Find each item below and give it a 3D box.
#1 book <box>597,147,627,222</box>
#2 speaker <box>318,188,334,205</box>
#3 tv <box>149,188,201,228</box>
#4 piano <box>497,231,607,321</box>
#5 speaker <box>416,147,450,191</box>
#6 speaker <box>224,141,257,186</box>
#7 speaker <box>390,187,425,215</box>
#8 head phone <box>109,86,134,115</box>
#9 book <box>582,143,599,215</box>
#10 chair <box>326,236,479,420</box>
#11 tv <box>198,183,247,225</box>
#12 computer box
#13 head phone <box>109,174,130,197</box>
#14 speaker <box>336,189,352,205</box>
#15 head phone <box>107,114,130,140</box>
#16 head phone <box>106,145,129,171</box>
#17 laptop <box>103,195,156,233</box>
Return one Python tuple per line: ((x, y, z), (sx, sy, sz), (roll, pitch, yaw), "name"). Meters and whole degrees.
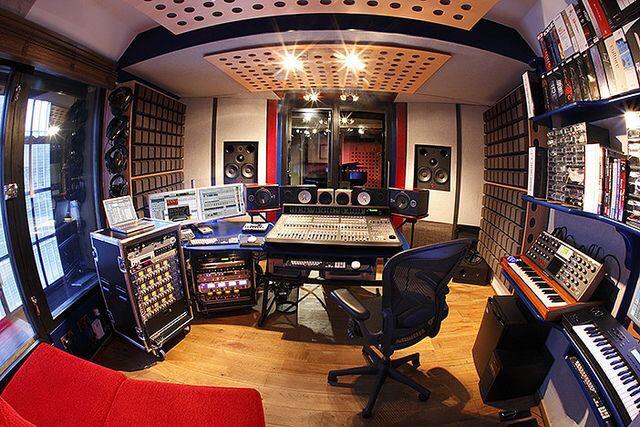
((2.135, -0.219, 2.916), (0.111, 0.504, 0.224), (0, 9, 7), "book")
((0.077, -0.202, 4.684), (0.179, 0.179, 0.184), (0, 3, 1), "speaker")
((-1.636, -0.061, 4.509), (0.415, 0.297, 0.158), (-4, -11, -24), "tv")
((1.972, 0.502, 3.471), (0.492, 0.384, 0.782), (-16, 22, 2), "piano")
((1.638, -0.656, 5.693), (0.597, 0.737, 0.303), (4, 4, 10), "speaker")
((-1.184, -0.676, 6.033), (0.559, 0.720, 0.430), (1, -10, -15), "speaker")
((1.115, -0.153, 4.989), (0.443, 0.321, 0.355), (10, 12, 36), "speaker")
((-2.234, -1.278, 4.495), (0.233, 0.277, 0.320), (12, 28, 20), "head phone")
((2.071, -0.274, 3.033), (0.089, 0.392, 0.398), (3, 46, 38), "book")
((0.671, 0.901, 3.822), (1.022, 1.712, 1.140), (-2, 18, -12), "chair")
((-1.176, -0.111, 4.786), (0.489, 0.363, 0.071), (-8, 10, -16), "tv")
((1.829, 1.435, 3.785), (0.582, 0.817, 0.417), (-5, -12, 25), "computer box")
((-2.257, -0.313, 4.476), (0.190, 0.255, 0.113), (-3, -6, -8), "head phone")
((0.279, -0.199, 4.756), (0.169, 0.174, 0.174), (1, 15, 0), "speaker")
((-2.228, -0.950, 4.423), (0.199, 0.272, 0.097), (15, -2, -3), "head phone")
((-2.245, -0.615, 4.452), (0.203, 0.278, 0.127), (-2, 6, 11), "head phone")
((-1.870, 0.007, 3.916), (0.424, 0.280, 0.343), (13, 19, 40), "laptop")
